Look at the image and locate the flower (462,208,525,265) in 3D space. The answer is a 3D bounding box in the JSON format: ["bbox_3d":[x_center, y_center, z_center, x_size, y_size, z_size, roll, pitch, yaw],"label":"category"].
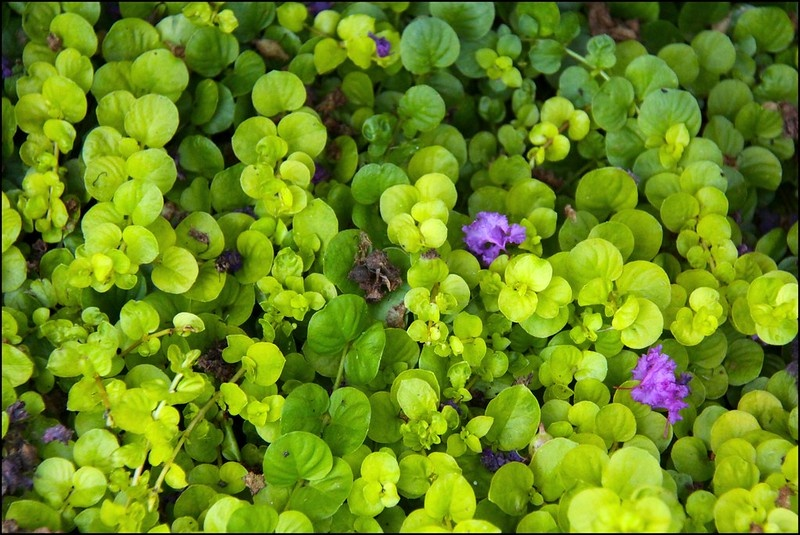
[{"bbox_3d":[0.288,-0.099,2.253,0.161,0.134,0.148,-36,74,-12],"label":"flower"}]

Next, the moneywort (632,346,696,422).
[{"bbox_3d":[0.774,0.343,2.146,0.193,0.145,0.164,32,73,11],"label":"moneywort"}]
